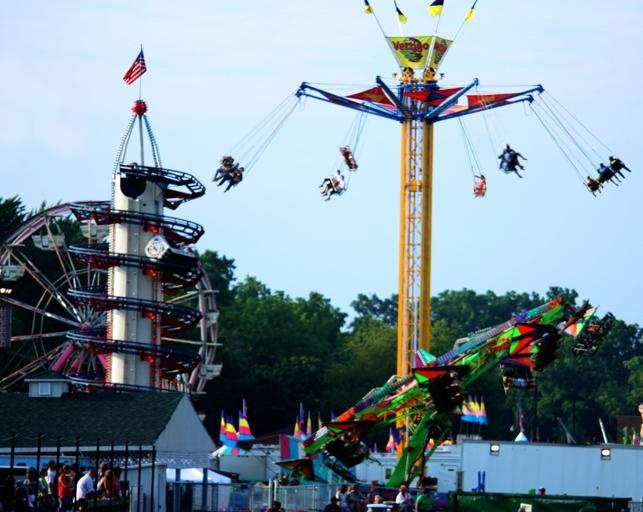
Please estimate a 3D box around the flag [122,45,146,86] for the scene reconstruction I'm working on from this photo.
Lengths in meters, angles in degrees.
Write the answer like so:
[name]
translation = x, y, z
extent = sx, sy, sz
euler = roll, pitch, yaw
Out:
[flag]
translation = -11.110, -12.335, 124.567
extent = 1.544, 3.096, 0.128
euler = -14, -47, 18
